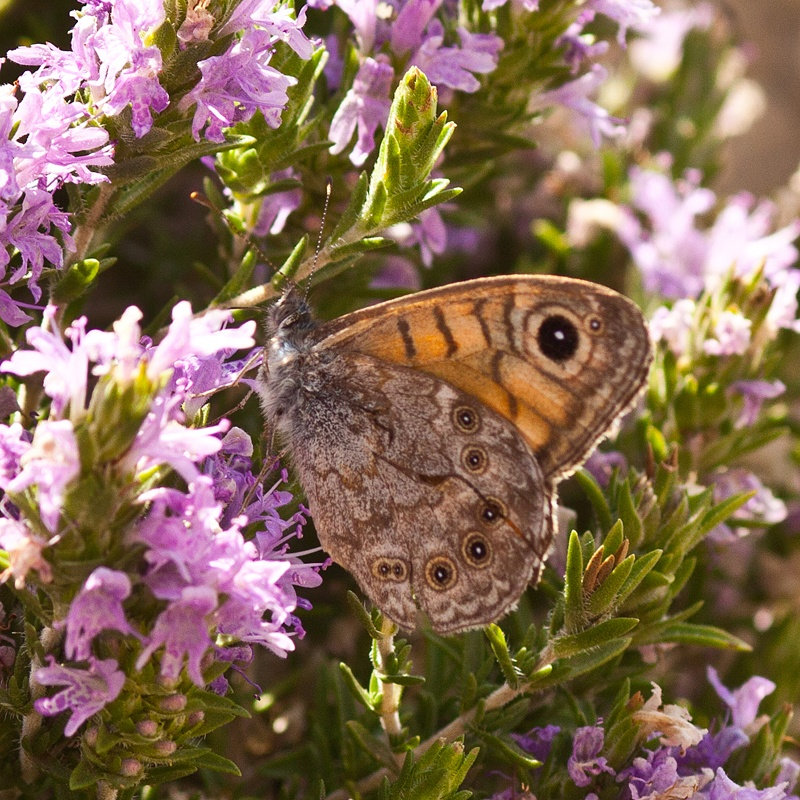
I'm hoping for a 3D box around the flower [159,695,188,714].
[{"bbox_3d":[-0.310,0.420,1.502,0.033,0.021,0.009,-3,20,-10],"label":"flower"}]

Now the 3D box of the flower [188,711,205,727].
[{"bbox_3d":[-0.292,0.462,1.579,0.019,0.024,0.009,-31,88,-4],"label":"flower"}]

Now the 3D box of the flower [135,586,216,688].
[{"bbox_3d":[-0.288,0.289,1.418,0.119,0.126,0.059,16,43,3],"label":"flower"}]

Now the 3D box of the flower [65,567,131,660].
[{"bbox_3d":[-0.378,0.263,1.386,0.095,0.045,0.120,4,34,-26],"label":"flower"}]

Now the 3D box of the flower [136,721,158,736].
[{"bbox_3d":[-0.348,0.454,1.503,0.026,0.014,0.023,-1,78,2],"label":"flower"}]

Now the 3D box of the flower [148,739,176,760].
[{"bbox_3d":[-0.331,0.494,1.543,0.029,0.036,0.022,4,78,4],"label":"flower"}]
